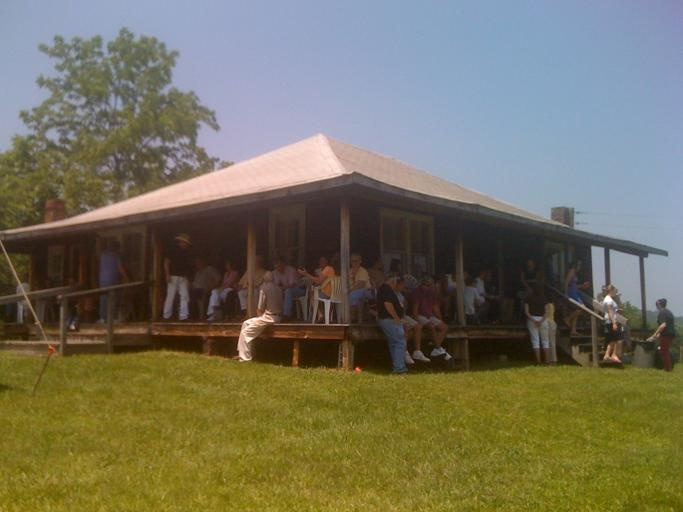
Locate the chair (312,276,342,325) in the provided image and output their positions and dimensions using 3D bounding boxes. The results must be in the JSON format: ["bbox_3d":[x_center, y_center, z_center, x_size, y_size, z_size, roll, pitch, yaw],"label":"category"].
[{"bbox_3d":[-0.230,0.829,11.829,0.583,1.071,0.740,2,2,-8],"label":"chair"}]

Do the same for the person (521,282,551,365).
[{"bbox_3d":[4.466,1.715,13.350,0.646,1.714,0.883,1,13,-3],"label":"person"}]

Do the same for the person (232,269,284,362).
[{"bbox_3d":[-1.612,1.316,11.609,0.933,1.587,0.559,-3,13,-18],"label":"person"}]

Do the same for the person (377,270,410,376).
[{"bbox_3d":[1.015,1.349,10.910,0.490,1.540,0.750,-5,14,-25],"label":"person"}]

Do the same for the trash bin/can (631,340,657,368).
[{"bbox_3d":[8.340,2.744,16.215,0.712,0.825,0.755,2,-3,11],"label":"trash bin/can"}]

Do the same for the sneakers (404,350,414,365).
[{"bbox_3d":[1.333,2.007,11.415,0.146,0.228,0.490,-9,-9,30],"label":"sneakers"}]

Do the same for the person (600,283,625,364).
[{"bbox_3d":[6.720,1.892,14.507,0.589,1.685,0.942,8,14,28],"label":"person"}]

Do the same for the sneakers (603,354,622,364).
[{"bbox_3d":[6.630,2.544,14.346,0.231,0.199,0.464,6,-11,-31],"label":"sneakers"}]

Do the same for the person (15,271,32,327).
[{"bbox_3d":[-9.716,1.311,17.549,0.432,1.617,0.358,14,3,-12],"label":"person"}]
